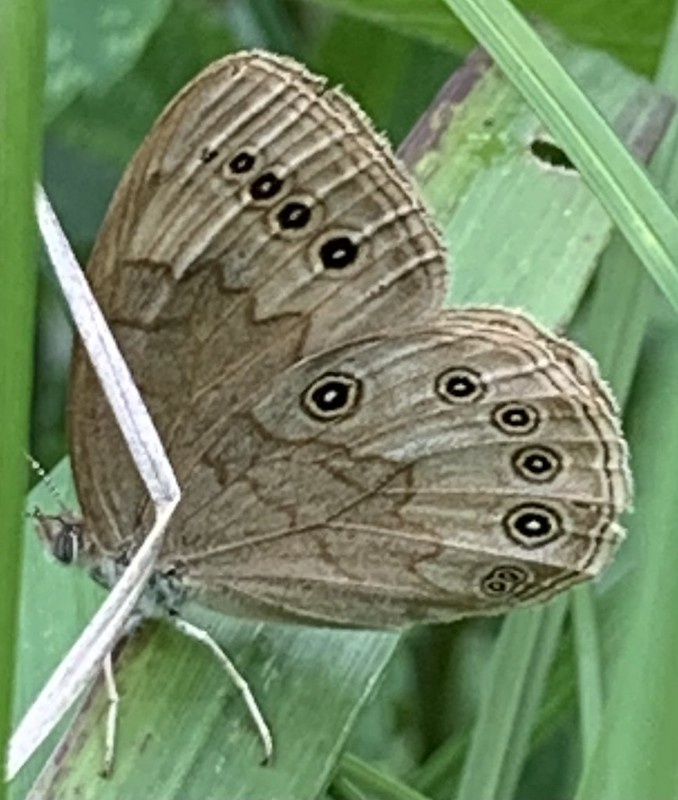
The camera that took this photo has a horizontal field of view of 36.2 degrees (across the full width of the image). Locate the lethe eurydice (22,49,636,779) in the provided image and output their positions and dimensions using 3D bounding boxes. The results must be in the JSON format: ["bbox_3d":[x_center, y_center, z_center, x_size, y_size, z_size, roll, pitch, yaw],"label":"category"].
[{"bbox_3d":[-0.033,0.023,0.802,0.401,0.304,0.448,-39,79,-5],"label":"lethe eurydice"}]
